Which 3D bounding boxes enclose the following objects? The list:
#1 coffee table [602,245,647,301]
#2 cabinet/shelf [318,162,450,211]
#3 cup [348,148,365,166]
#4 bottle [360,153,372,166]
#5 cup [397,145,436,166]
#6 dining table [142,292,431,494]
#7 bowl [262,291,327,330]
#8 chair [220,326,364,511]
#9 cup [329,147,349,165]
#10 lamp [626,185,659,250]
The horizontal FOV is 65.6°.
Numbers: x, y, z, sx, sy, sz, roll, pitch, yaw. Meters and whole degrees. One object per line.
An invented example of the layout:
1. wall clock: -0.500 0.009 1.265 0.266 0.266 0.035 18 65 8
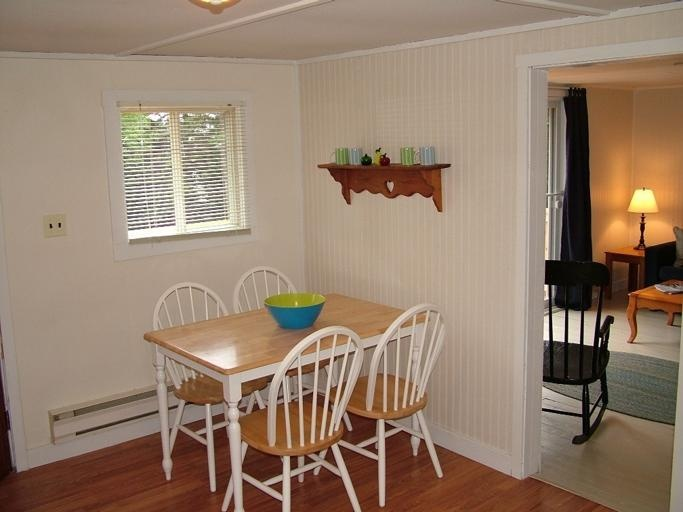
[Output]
1. coffee table: 3.607 0.209 6.756 0.691 0.660 0.695 5 10 42
2. cabinet/shelf: 0.304 -0.513 3.901 0.254 0.369 1.042 -14 14 -40
3. cup: 0.100 -0.763 4.056 0.130 0.125 0.125 1 10 0
4. bottle: 0.183 -0.729 3.990 0.087 0.079 0.085 1 8 20
5. cup: 0.515 -0.706 3.709 0.121 0.139 0.298 -7 9 -34
6. dining table: -0.299 0.845 3.697 1.708 0.793 0.992 -9 11 -44
7. bowl: -0.317 0.349 3.461 0.282 0.111 0.280 0 0 0
8. chair: -0.226 0.893 3.384 0.749 1.186 1.330 -4 11 2
9. cup: -0.015 -0.788 4.173 0.154 0.158 0.155 1 12 0
10. lamp: 4.113 -0.509 7.235 0.350 0.804 0.669 2 13 30
